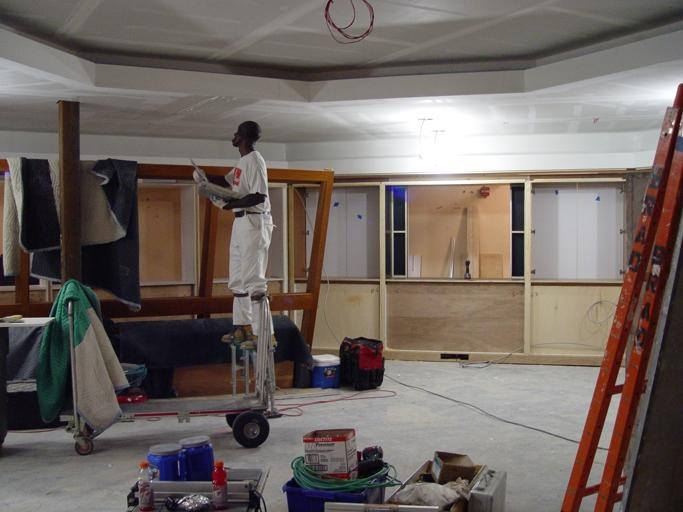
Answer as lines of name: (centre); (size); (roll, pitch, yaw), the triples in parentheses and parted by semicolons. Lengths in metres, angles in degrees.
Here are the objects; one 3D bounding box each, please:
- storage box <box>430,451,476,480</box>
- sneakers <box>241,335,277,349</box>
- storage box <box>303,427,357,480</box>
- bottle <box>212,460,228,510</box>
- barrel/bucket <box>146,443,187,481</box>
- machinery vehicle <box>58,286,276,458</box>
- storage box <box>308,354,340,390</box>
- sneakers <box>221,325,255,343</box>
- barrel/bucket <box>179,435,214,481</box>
storage box: (0.778, 1.464, 4.387); (0.193, 0.121, 0.191); (8, -1, -12)
sneakers: (-0.787, 0.825, 6.072); (0.380, 0.153, 0.129); (3, -4, 2)
storage box: (-0.091, 1.377, 4.416); (0.319, 0.301, 0.254); (-2, 1, -2)
bottle: (-0.756, 1.410, 3.943); (0.095, 0.285, 0.157); (-1, 4, -11)
barrel/bucket: (-1.236, 1.459, 4.526); (0.226, 0.277, 0.231); (-1, -4, 0)
machinery vehicle: (-1.619, 0.985, 6.407); (1.824, 1.338, 1.997); (-1, 4, -10)
storage box: (-0.200, 1.396, 7.631); (0.351, 0.320, 0.353); (1, 0, 1)
sneakers: (-0.964, 0.760, 6.154); (0.371, 0.258, 0.138); (2, -3, -3)
barrel/bucket: (-1.055, 1.484, 4.605); (0.243, 0.433, 0.241); (-2, -6, 0)
